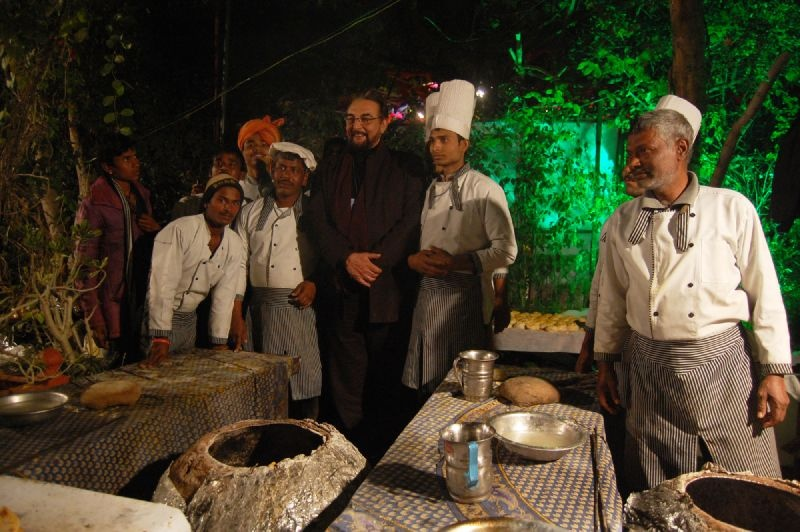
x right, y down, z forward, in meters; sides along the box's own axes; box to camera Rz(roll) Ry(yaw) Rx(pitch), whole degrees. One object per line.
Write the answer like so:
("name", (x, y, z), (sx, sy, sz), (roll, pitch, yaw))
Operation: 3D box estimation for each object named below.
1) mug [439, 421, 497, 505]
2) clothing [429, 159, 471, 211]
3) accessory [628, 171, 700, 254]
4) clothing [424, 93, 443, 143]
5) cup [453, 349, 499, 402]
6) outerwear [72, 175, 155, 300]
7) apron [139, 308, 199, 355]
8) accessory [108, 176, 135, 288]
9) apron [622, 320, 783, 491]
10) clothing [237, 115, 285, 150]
("mug", (0.349, 1.027, 2.986), (0.330, 0.352, 0.361), (-2, 1, -2))
("clothing", (0.361, -0.685, 4.930), (0.445, 0.358, 0.357), (2, -8, -40))
("accessory", (1.747, -0.331, 3.676), (0.367, 0.549, 0.138), (12, -15, 37))
("clothing", (0.335, -1.380, 5.017), (0.199, 0.209, 0.251), (6, -33, 3))
("cup", (0.497, 0.712, 3.827), (0.386, 0.312, 0.293), (1, -4, 0))
("outerwear", (-2.730, -0.481, 5.480), (0.467, 0.746, 0.878), (9, 15, 28))
("apron", (-1.964, 0.548, 4.759), (0.251, 0.420, 0.334), (25, 25, 33))
("accessory", (-2.663, -0.321, 5.357), (0.094, 1.044, 0.160), (-5, 1, 41))
("apron", (2.024, 0.947, 3.871), (0.952, 1.193, 0.720), (-6, 6, 28))
("clothing", (-1.441, -1.412, 5.791), (0.432, 0.199, 0.354), (-19, 21, -22))
